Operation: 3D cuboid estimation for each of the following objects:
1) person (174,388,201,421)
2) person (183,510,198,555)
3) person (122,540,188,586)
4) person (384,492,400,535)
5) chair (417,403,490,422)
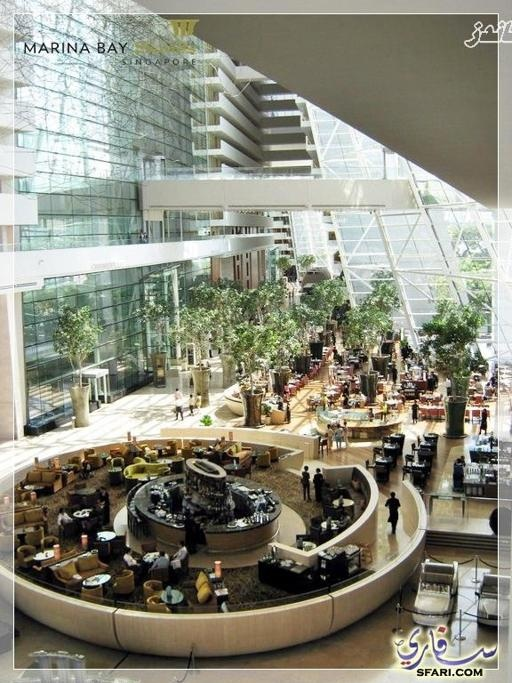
[{"bbox_3d":[-2.976,2.764,22.811,1.114,0.383,1.650,1,25,4],"label":"person"},{"bbox_3d":[-1.432,4.273,11.854,0.348,0.709,0.289,7,-6,-4],"label":"person"},{"bbox_3d":[-1.953,4.399,10.639,0.729,0.328,0.798,-4,7,-36],"label":"person"},{"bbox_3d":[3.412,4.254,13.567,0.305,0.982,1.080,5,-6,16],"label":"person"},{"bbox_3d":[7.709,2.926,21.685,2.352,0.785,1.523,4,-6,22],"label":"chair"}]
